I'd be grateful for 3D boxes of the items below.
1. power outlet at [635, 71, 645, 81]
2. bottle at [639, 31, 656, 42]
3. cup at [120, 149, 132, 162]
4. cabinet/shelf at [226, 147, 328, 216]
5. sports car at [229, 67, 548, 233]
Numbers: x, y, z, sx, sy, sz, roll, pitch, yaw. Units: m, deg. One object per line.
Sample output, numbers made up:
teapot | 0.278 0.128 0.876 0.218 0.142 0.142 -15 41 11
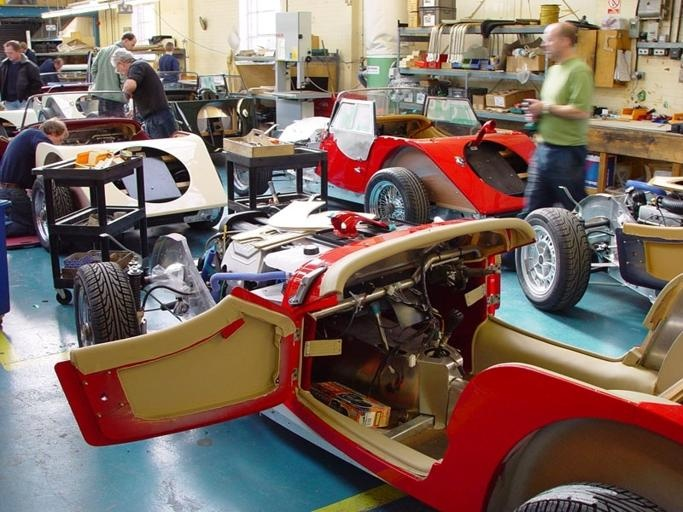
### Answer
power outlet | 5.017 -3.019 8.383 0.192 0.138 0.102 3 9 33
bottle | 5.003 -3.565 8.132 0.071 0.153 0.274 -13 22 -29
cup | -2.388 -1.119 5.534 0.153 0.061 0.155 10 25 -5
cabinet/shelf | -0.780 -0.944 6.139 1.319 0.663 1.091 -15 23 -38
sports car | 0.638 -1.531 7.465 2.683 1.436 4.251 -13 25 -43
